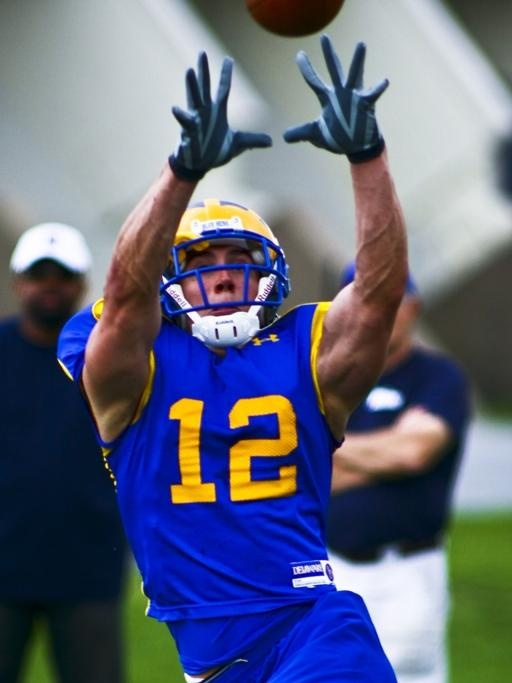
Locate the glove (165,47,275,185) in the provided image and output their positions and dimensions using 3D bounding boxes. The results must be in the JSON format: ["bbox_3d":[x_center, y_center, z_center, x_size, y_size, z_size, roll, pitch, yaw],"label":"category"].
[{"bbox_3d":[-0.100,-0.628,3.348,0.283,0.358,0.203,-5,31,-9],"label":"glove"}]

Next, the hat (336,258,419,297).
[{"bbox_3d":[0.460,-0.251,4.666,0.159,0.211,0.187,38,17,30],"label":"hat"}]

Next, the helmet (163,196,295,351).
[{"bbox_3d":[-0.097,-0.244,3.885,0.395,0.476,0.510,-3,1,5],"label":"helmet"}]

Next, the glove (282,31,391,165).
[{"bbox_3d":[0.218,-0.666,3.398,0.302,0.393,0.106,-16,45,7],"label":"glove"}]
